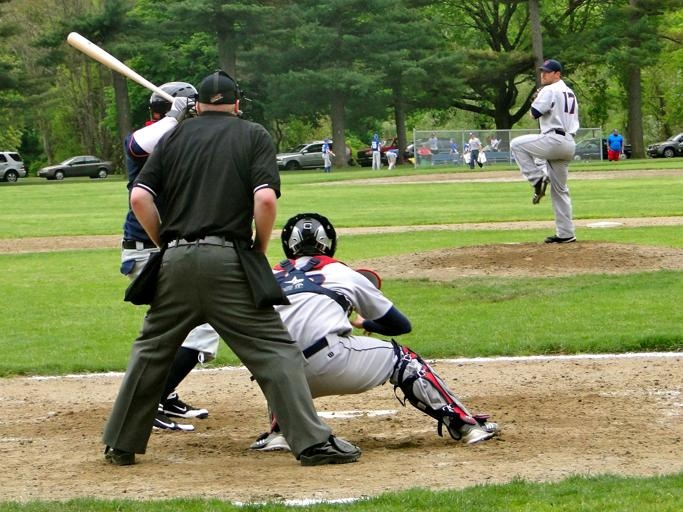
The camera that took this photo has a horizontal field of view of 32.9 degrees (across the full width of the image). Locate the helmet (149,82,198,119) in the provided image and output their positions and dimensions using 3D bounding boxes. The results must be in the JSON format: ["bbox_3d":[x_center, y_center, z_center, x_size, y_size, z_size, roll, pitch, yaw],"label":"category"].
[{"bbox_3d":[-1.600,-1.485,11.128,0.459,0.338,0.382,-3,15,2],"label":"helmet"}]

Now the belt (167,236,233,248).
[{"bbox_3d":[-1.213,-0.116,9.922,0.563,0.108,0.102,-2,3,14],"label":"belt"}]

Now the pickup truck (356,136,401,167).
[{"bbox_3d":[1.852,-5.028,56.115,2.548,0.988,1.334,-1,0,-33],"label":"pickup truck"}]

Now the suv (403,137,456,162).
[{"bbox_3d":[3.992,-4.447,48.853,2.179,0.810,1.138,-5,12,-15],"label":"suv"}]

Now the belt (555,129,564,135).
[{"bbox_3d":[3.276,-1.841,17.225,0.143,0.095,0.043,-4,3,-18],"label":"belt"}]

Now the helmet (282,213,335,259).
[{"bbox_3d":[-0.301,-0.178,10.473,0.456,0.420,0.395,1,15,0],"label":"helmet"}]

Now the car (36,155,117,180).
[{"bbox_3d":[-12.715,-4.113,54.613,2.290,1.427,1.525,0,1,37],"label":"car"}]

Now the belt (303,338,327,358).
[{"bbox_3d":[-0.226,0.810,10.235,0.198,0.049,0.199,-26,-4,32],"label":"belt"}]
